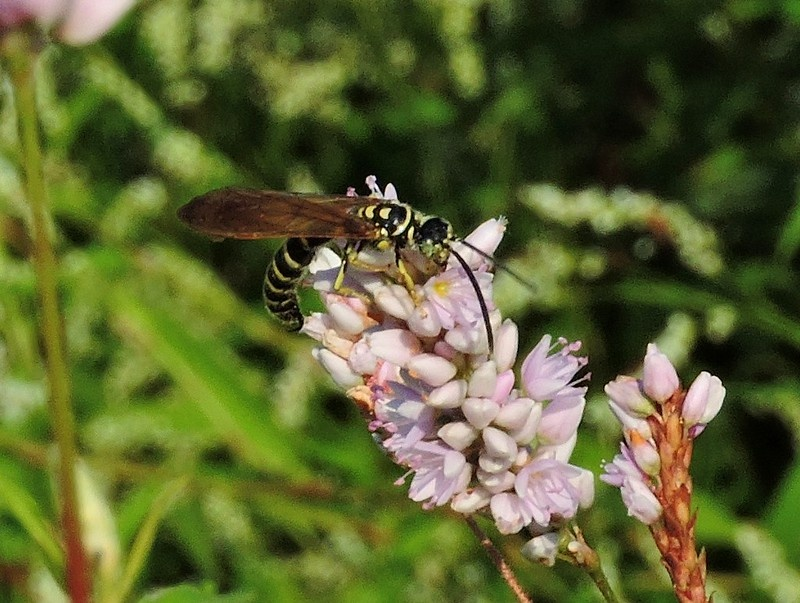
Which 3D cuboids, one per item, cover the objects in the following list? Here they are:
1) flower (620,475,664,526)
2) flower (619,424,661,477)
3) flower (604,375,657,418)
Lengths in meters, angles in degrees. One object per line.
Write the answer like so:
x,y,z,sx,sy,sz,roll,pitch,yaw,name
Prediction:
0.648,0.520,2.735,0.082,0.138,0.054,-33,4,35,flower
0.646,0.404,2.744,0.074,0.139,0.047,-29,-7,19,flower
0.614,0.251,2.725,0.135,0.092,0.044,35,9,9,flower
